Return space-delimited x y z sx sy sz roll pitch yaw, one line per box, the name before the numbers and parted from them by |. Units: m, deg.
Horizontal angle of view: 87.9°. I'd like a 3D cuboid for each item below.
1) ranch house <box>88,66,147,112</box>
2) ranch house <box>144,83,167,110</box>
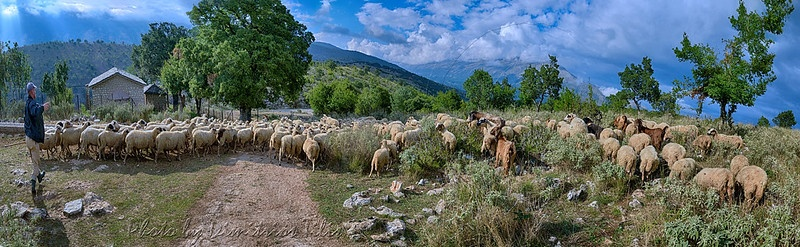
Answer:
ranch house | -62.577 -8.094 91.788 9.997 7.805 2.658 1 2 -11
ranch house | -53.604 -5.945 91.056 3.969 5.431 5.717 1 1 -29
